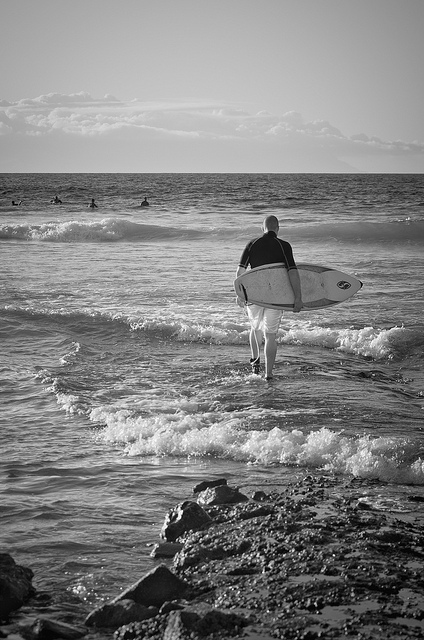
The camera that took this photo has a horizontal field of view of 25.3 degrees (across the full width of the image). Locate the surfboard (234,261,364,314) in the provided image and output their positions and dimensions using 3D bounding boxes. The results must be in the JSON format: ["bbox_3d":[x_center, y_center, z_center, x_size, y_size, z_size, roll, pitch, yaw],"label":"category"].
[{"bbox_3d":[0.872,-0.334,9.267,0.209,0.506,1.575,-10,-6,34],"label":"surfboard"}]

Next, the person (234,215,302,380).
[{"bbox_3d":[0.549,-0.260,9.377,0.626,1.572,1.652,-1,8,3],"label":"person"}]
